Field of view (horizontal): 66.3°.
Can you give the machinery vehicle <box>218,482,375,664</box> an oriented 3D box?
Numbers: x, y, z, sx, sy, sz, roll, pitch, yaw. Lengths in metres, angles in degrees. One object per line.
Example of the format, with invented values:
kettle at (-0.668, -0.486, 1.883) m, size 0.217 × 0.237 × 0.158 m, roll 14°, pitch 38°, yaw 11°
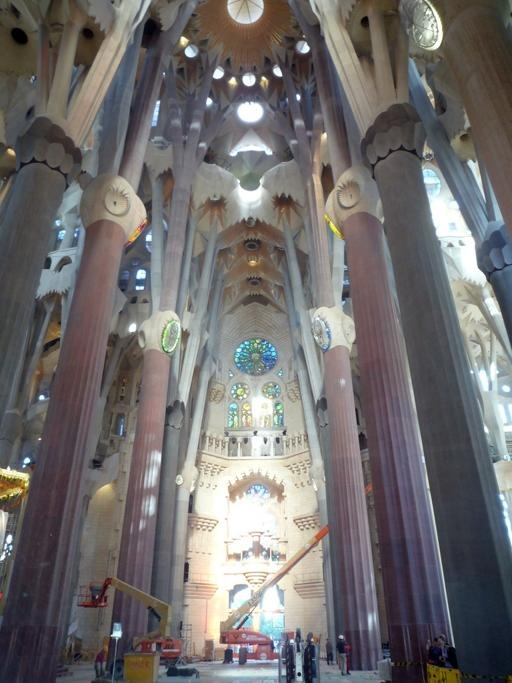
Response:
machinery vehicle at (0.882, 10.015, 16.000) m, size 4.252 × 5.307 × 1.169 m, roll -10°, pitch -69°, yaw 11°
